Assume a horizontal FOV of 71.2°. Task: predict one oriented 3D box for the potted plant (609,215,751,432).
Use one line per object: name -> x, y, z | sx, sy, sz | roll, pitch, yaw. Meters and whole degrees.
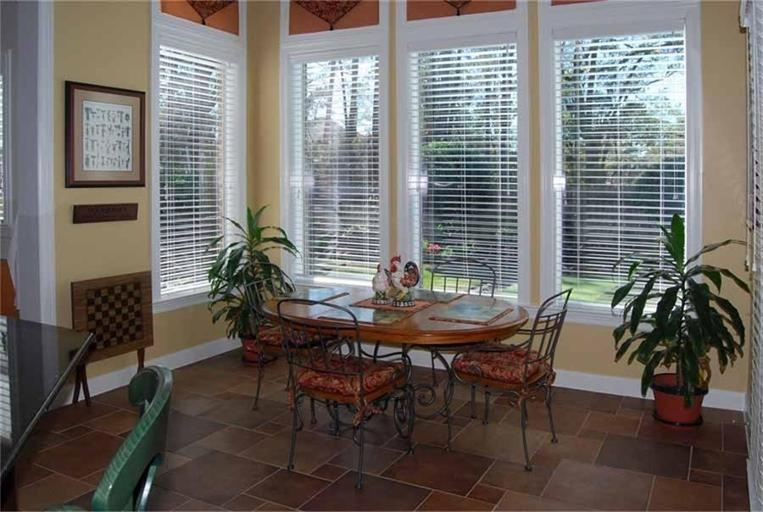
potted plant -> 2.370, 0.542, 4.152 | 1.175, 1.509, 1.053 | 2, -3, -9
